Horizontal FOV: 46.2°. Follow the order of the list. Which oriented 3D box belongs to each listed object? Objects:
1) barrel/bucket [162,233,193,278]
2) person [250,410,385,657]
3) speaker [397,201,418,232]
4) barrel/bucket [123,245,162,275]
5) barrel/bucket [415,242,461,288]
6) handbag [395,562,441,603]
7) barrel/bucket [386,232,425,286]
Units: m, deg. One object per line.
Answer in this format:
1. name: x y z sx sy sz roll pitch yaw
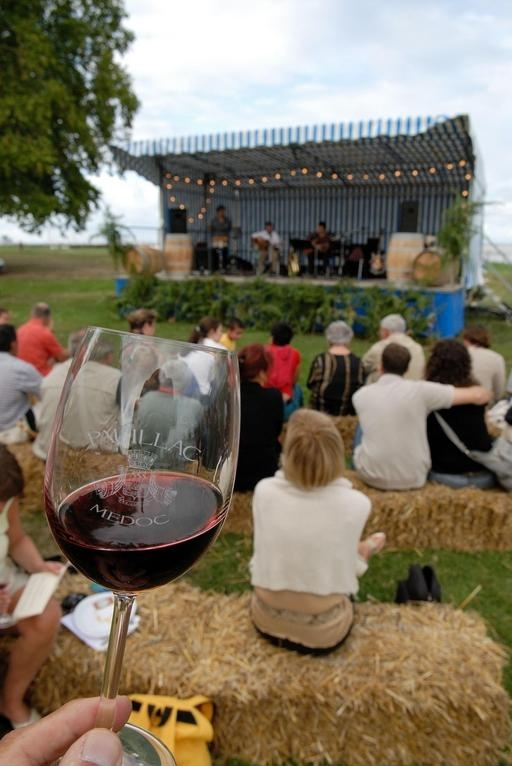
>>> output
1. barrel/bucket: -2.140 -3.466 16.222 0.749 1.041 0.654 2 14 5
2. person: 0.254 0.604 2.767 0.550 1.011 1.031 5 20 10
3. speaker: 5.069 -5.504 19.788 0.566 0.989 0.389 6 16 22
4. barrel/bucket: -2.799 -3.046 14.942 0.899 0.724 2.064 -2 14 -11
5. barrel/bucket: 3.686 -2.378 12.284 0.777 0.752 1.318 3 14 11
6. handbag: 0.800 0.992 3.006 0.226 0.214 0.174 0 -2 2
7. barrel/bucket: 3.415 -2.829 13.693 0.806 1.032 0.763 1 11 0
